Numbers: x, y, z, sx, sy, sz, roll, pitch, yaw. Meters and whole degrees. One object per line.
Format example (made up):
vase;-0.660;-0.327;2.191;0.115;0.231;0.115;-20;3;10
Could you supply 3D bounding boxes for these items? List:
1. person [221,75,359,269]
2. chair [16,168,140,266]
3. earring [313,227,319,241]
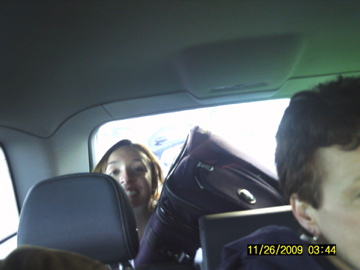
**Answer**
person;0.612;0.230;1.748;0.845;0.873;0.456;5;-20;-13
chair;-0.488;0.375;1.478;0.543;0.434;0.202;2;-8;2
earring;0.701;0.504;1.652;0.031;0.050;0.024;-9;-6;23
